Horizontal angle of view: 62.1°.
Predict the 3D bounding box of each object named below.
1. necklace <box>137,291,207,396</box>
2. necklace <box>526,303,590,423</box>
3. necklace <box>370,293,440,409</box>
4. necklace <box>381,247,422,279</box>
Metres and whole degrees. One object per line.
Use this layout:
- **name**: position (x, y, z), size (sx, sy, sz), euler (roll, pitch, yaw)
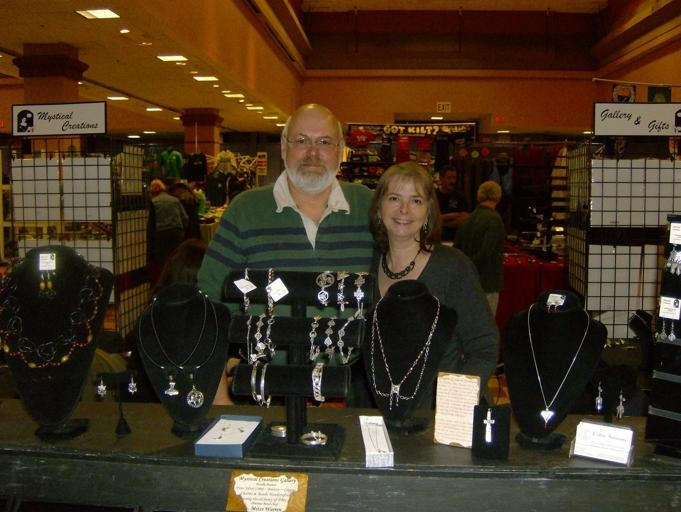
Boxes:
- **necklace**: position (-0.463, 0.240, 1.597), size (0.222, 0.312, 0.099), euler (2, 5, -13)
- **necklace**: position (0.581, 0.299, 1.542), size (0.141, 0.310, 0.047), euler (9, -16, 12)
- **necklace**: position (0.178, 0.276, 1.593), size (0.195, 0.315, 0.088), euler (3, 5, 4)
- **necklace**: position (0.221, 0.042, 2.096), size (0.103, 0.126, 0.022), euler (18, -6, 41)
